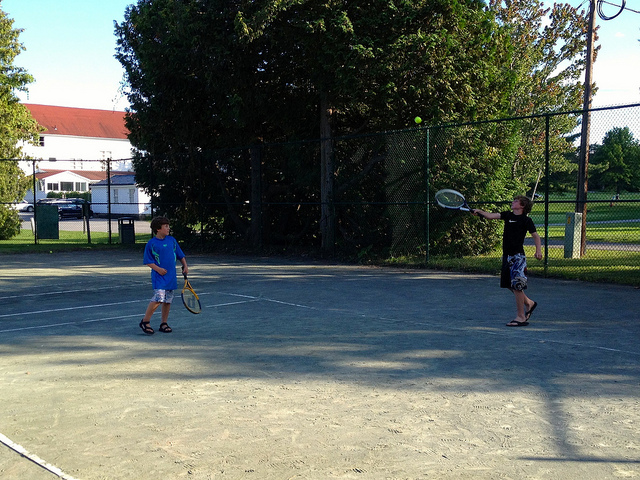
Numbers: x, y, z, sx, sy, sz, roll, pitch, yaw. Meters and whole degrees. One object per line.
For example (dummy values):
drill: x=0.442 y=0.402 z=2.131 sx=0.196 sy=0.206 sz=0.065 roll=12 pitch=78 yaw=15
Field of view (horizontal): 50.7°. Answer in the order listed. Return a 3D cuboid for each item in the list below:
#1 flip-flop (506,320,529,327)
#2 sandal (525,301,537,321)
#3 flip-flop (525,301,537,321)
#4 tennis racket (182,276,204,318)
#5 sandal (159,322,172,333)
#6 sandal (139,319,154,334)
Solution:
flip-flop: x=3.265 y=1.350 z=11.148 sx=0.311 sy=0.079 sz=0.118 roll=1 pitch=-4 yaw=-9
sandal: x=3.528 y=1.158 z=11.236 sx=0.090 sy=0.332 sz=0.116 roll=20 pitch=-5 yaw=10
flip-flop: x=3.526 y=1.166 z=11.233 sx=0.090 sy=0.333 sz=0.115 roll=20 pitch=-4 yaw=9
tennis racket: x=-2.452 y=1.122 z=13.291 sx=0.430 sy=0.066 sz=1.171 roll=35 pitch=5 yaw=-22
sandal: x=-2.501 y=1.421 z=11.126 sx=0.100 sy=0.120 sz=0.282 roll=1 pitch=-4 yaw=-28
sandal: x=-2.758 y=1.395 z=10.962 sx=0.201 sy=0.206 sz=0.249 roll=-2 pitch=6 yaw=-16
